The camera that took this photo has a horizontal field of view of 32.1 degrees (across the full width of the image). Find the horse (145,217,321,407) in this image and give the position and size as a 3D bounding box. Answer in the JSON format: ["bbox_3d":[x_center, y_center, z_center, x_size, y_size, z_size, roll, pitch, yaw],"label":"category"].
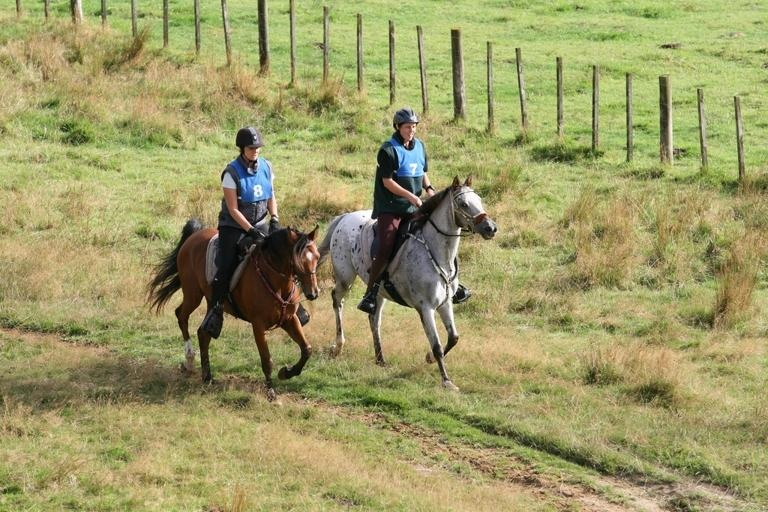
[{"bbox_3d":[-3.582,1.077,31.011,5.474,4.220,1.282,11,7,40],"label":"horse"}]

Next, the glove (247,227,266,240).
[{"bbox_3d":[-2.855,-0.498,29.873,0.456,0.304,0.267,4,10,10],"label":"glove"}]

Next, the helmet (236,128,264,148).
[{"bbox_3d":[-2.997,-2.630,29.817,0.557,0.498,0.372,2,10,-2],"label":"helmet"}]

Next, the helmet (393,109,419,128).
[{"bbox_3d":[0.468,-3.181,30.779,0.347,0.421,0.519,-2,1,-19],"label":"helmet"}]

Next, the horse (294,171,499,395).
[{"bbox_3d":[0.218,0.495,32.014,1.370,5.248,6.394,-7,12,-42],"label":"horse"}]
